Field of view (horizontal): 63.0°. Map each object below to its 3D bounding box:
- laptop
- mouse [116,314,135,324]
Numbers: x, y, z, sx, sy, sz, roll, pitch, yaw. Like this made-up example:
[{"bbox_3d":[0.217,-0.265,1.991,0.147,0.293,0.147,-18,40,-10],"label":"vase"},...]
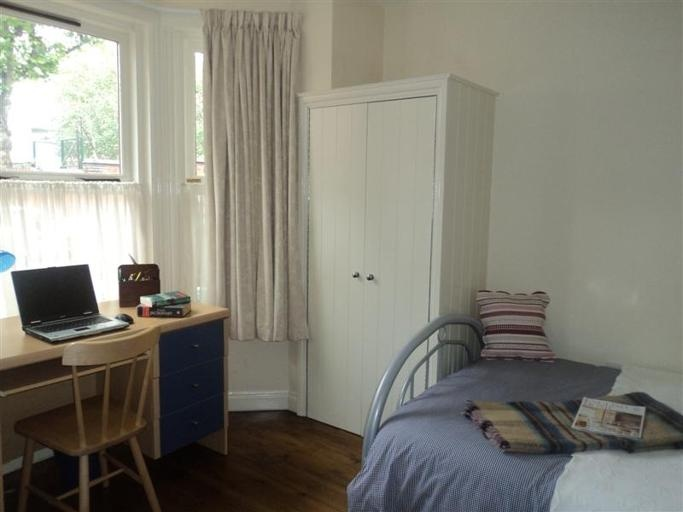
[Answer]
[{"bbox_3d":[-1.398,0.226,2.839,0.471,0.344,0.419,8,8,35],"label":"laptop"},{"bbox_3d":[-1.130,0.323,2.934,0.070,0.026,0.051,14,7,27],"label":"mouse"}]
